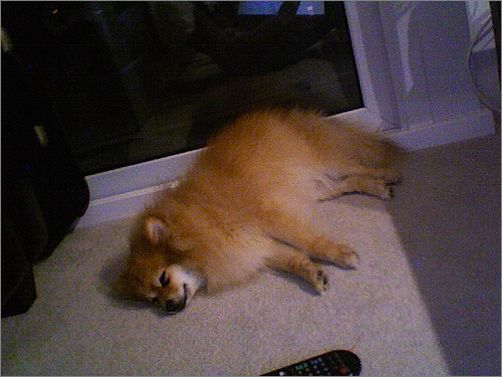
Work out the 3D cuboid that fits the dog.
[{"bbox_3d":[0.080,0.078,1.751,1.139,0.679,0.603,-34,21,4],"label":"dog"}]
